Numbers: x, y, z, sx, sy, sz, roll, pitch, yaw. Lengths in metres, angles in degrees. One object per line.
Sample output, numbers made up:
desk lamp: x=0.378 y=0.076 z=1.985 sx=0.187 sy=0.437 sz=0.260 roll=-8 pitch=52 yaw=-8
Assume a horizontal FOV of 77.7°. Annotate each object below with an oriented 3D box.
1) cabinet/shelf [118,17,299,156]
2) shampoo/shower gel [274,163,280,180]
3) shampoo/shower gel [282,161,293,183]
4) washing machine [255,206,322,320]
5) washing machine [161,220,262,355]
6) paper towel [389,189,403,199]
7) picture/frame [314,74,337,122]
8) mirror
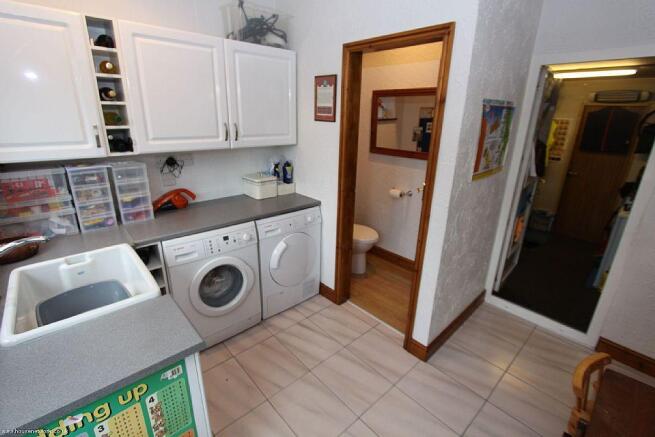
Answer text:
cabinet/shelf: x=-0.846 y=-1.160 z=3.891 sx=1.787 sy=1.089 sz=0.575 roll=-11 pitch=19 yaw=-39
shampoo/shower gel: x=-0.514 y=-0.497 z=4.208 sx=0.053 sy=0.168 sz=0.150 roll=6 pitch=21 yaw=13
shampoo/shower gel: x=-0.408 y=-0.475 z=4.172 sx=0.112 sy=0.207 sz=0.094 roll=8 pitch=22 yaw=18
washing machine: x=-0.516 y=0.347 z=4.123 sx=0.789 sy=1.025 sz=0.752 roll=-14 pitch=27 yaw=-28
washing machine: x=-1.043 y=0.533 z=3.705 sx=0.770 sy=1.224 sz=0.648 roll=-20 pitch=38 yaw=-31
paper towel: x=0.753 y=-0.283 z=4.477 sx=0.119 sy=0.102 sz=0.094 roll=9 pitch=40 yaw=35
picture/frame: x=-0.015 y=-1.085 z=3.703 sx=0.047 sy=0.401 sz=0.316 roll=-11 pitch=21 yaw=-38
mirror: x=0.811 y=-1.019 z=4.376 sx=0.819 sy=0.658 sz=0.043 roll=-5 pitch=17 yaw=-27
